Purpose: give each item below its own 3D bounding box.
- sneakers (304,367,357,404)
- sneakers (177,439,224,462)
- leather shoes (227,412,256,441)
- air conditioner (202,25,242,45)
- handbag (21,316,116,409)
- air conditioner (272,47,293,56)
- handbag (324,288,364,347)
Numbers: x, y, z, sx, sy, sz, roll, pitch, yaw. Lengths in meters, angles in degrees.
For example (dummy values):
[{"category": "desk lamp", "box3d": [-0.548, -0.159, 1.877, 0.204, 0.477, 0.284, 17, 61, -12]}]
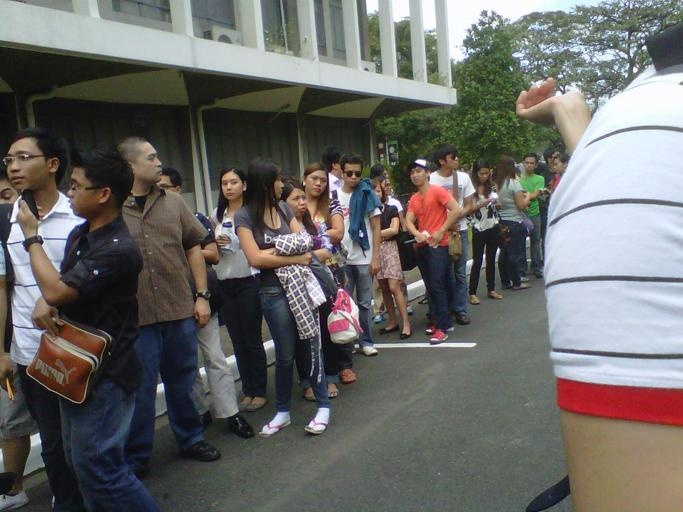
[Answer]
[{"category": "sneakers", "box3d": [-0.107, 1.182, 5.520, 0.195, 0.259, 0.611, -2, -4, 25]}, {"category": "sneakers", "box3d": [-1.026, 1.394, 4.337, 0.272, 0.132, 0.134, -1, 0, 14]}, {"category": "leather shoes", "box3d": [-0.801, 1.338, 4.752, 0.110, 0.126, 0.287, -14, 18, -39]}, {"category": "air conditioner", "box3d": [-2.596, -4.915, 13.199, 0.798, 0.440, 0.760, -8, 8, -16]}, {"category": "handbag", "box3d": [-1.418, 0.529, 3.053, 0.369, 0.368, 0.163, 28, 16, 4]}, {"category": "air conditioner", "box3d": [-1.371, -4.629, 13.516, 0.101, 0.153, 0.670, -17, 2, 27]}, {"category": "handbag", "box3d": [0.020, 0.516, 5.283, 0.230, 0.487, 0.391, -11, 2, 14]}]
